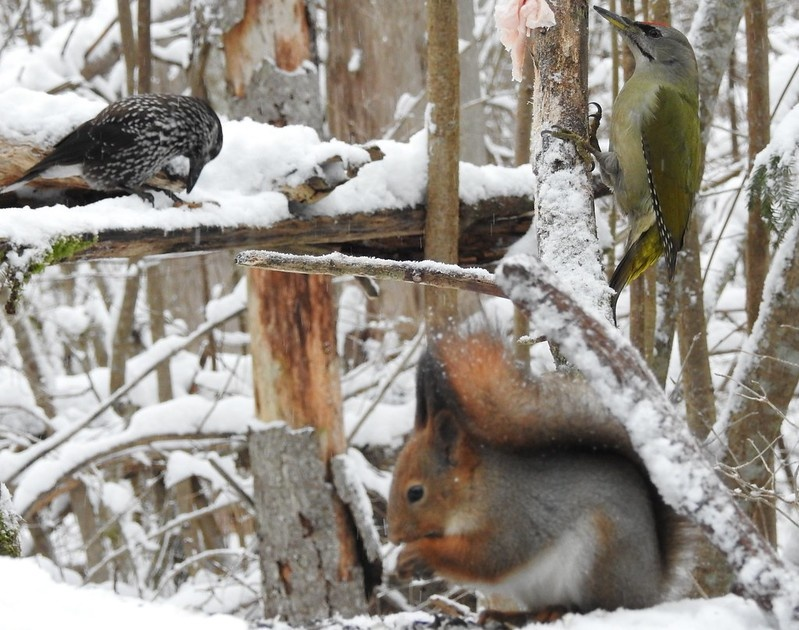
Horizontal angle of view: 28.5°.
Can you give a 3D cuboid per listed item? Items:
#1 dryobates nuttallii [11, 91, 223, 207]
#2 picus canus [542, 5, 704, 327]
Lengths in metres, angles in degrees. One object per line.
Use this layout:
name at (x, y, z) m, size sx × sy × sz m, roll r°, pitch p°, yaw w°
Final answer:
dryobates nuttallii at (-1.965, -1.206, 11.530) m, size 1.609 × 1.045 × 0.626 m, roll 7°, pitch 5°, yaw -27°
picus canus at (1.701, -1.263, 10.919) m, size 0.616 × 1.880 × 0.956 m, roll 2°, pitch 18°, yaw 22°
